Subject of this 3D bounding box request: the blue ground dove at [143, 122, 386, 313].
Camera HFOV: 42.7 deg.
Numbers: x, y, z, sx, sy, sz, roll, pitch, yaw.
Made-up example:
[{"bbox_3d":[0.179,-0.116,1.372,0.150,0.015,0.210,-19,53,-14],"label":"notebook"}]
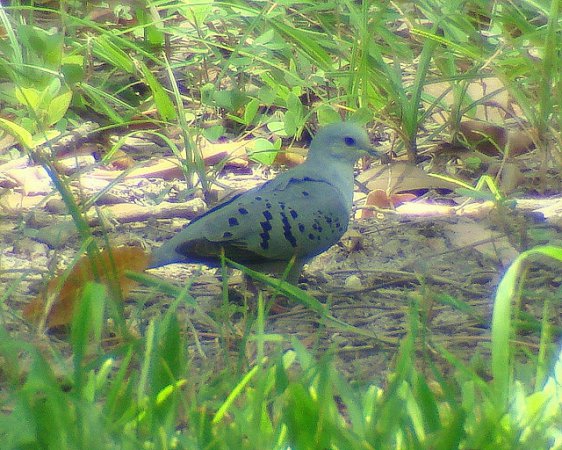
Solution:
[{"bbox_3d":[-0.125,-0.027,2.894,1.074,0.608,0.372,-10,16,-9],"label":"blue ground dove"}]
